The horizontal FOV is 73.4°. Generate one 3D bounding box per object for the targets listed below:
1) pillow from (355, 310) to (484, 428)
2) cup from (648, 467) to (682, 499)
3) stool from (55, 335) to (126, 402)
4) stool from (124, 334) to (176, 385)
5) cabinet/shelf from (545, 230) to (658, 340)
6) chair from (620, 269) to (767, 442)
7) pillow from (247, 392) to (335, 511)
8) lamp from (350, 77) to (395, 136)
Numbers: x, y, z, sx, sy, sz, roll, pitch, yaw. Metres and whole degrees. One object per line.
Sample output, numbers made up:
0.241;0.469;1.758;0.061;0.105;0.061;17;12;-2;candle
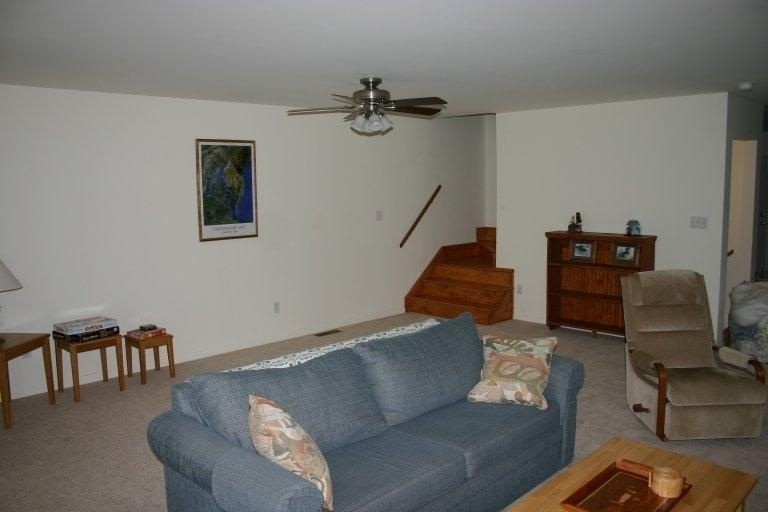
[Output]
0.198;0.926;4.080;1.134;0.627;0.300;-10;-15;-37;pillow
1.783;1.415;3.248;0.194;0.098;0.142;-6;8;-33;cup
-3.214;1.184;5.619;0.709;0.687;0.681;7;9;44;stool
-2.640;1.113;5.989;0.562;0.563;0.570;10;13;42;stool
2.813;0.349;6.588;1.454;1.373;0.436;2;4;37;cabinet/shelf
2.844;0.904;4.819;0.994;1.280;1.154;1;14;9;chair
-0.574;1.173;3.045;0.303;0.365;0.499;-12;34;-31;pillow
-0.117;-1.341;4.818;0.538;0.529;0.529;0;-1;1;lamp
